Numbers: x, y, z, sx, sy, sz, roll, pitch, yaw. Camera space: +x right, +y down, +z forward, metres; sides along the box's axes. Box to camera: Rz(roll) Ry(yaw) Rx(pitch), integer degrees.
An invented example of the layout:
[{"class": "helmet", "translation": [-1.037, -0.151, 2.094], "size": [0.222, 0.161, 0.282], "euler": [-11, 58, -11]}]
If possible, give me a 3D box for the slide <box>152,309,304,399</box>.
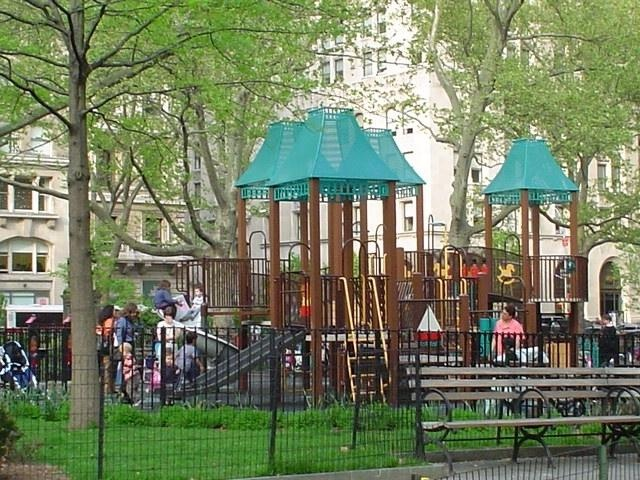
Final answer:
[{"class": "slide", "translation": [-2.068, 3.082, 39.326], "size": [2.851, 2.002, 2.332], "euler": [0, -1, -39]}]
